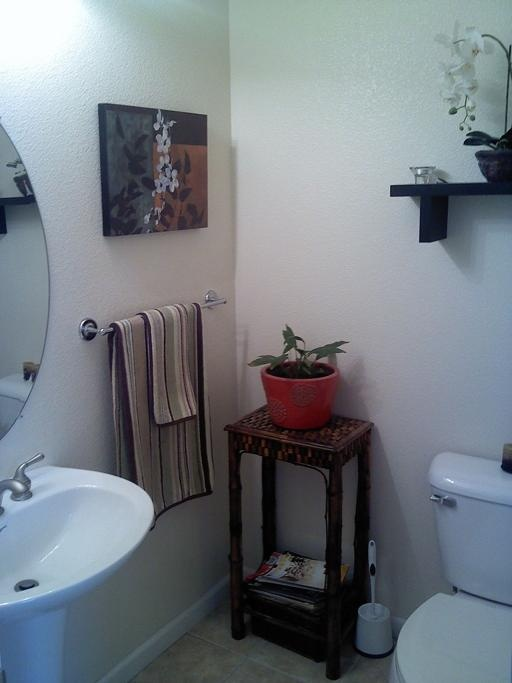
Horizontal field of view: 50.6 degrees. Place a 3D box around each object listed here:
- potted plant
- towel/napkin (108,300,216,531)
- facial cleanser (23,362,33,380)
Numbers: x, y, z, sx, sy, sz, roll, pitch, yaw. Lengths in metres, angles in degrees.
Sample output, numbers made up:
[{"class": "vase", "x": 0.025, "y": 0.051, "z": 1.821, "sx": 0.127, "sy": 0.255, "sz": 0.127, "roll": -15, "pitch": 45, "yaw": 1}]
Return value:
[{"class": "potted plant", "x": 0.139, "y": 0.099, "z": 1.669, "sx": 0.267, "sy": 0.308, "sz": 0.330, "roll": 0, "pitch": 10, "yaw": 12}, {"class": "towel/napkin", "x": -0.243, "y": 0.208, "z": 1.525, "sx": 0.091, "sy": 0.605, "sz": 0.389, "roll": 2, "pitch": 11, "yaw": 25}, {"class": "facial cleanser", "x": -0.499, "y": 0.063, "z": 1.187, "sx": 0.025, "sy": 0.048, "sz": 0.026, "roll": 1, "pitch": 14, "yaw": -30}]
